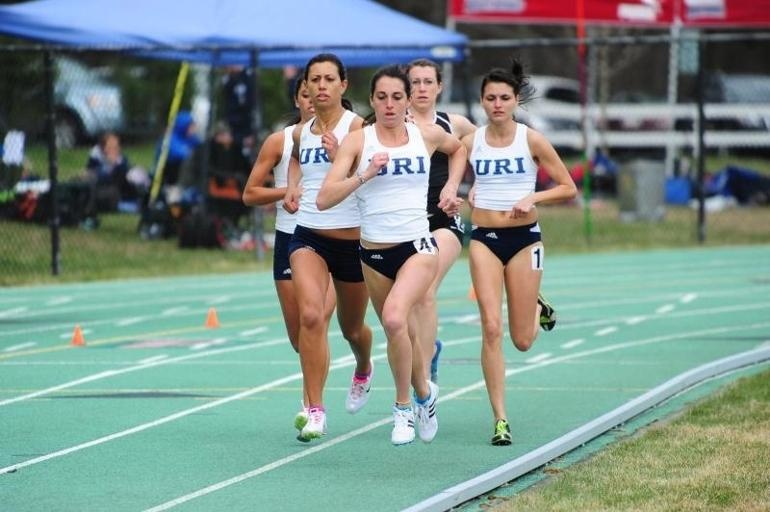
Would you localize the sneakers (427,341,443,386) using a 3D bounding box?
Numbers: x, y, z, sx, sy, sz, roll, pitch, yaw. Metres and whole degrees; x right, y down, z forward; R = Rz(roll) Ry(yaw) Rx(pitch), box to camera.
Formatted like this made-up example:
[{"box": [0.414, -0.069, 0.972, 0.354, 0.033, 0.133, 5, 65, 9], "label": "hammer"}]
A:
[{"box": [0.471, 1.042, 7.535, 0.146, 0.464, 0.195, 1, 8, 9], "label": "sneakers"}]

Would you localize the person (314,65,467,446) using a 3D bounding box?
[{"box": [0.103, 0.060, 6.200, 1.183, 2.962, 0.590, -7, 8, -44], "label": "person"}]

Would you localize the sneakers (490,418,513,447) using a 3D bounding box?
[{"box": [0.936, 1.385, 6.350, 0.203, 0.202, 0.182, -2, 7, -9], "label": "sneakers"}]

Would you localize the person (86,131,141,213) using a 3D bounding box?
[{"box": [-3.972, -1.267, 11.762, 0.671, 1.101, 2.721, -2, 7, -11], "label": "person"}]

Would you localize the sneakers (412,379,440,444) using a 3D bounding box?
[{"box": [0.351, 1.213, 6.221, 0.160, 0.508, 0.213, -1, 4, 26], "label": "sneakers"}]

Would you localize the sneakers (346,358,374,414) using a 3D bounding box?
[{"box": [-0.211, 1.160, 6.965, 0.170, 0.498, 0.196, 14, 13, 8], "label": "sneakers"}]
